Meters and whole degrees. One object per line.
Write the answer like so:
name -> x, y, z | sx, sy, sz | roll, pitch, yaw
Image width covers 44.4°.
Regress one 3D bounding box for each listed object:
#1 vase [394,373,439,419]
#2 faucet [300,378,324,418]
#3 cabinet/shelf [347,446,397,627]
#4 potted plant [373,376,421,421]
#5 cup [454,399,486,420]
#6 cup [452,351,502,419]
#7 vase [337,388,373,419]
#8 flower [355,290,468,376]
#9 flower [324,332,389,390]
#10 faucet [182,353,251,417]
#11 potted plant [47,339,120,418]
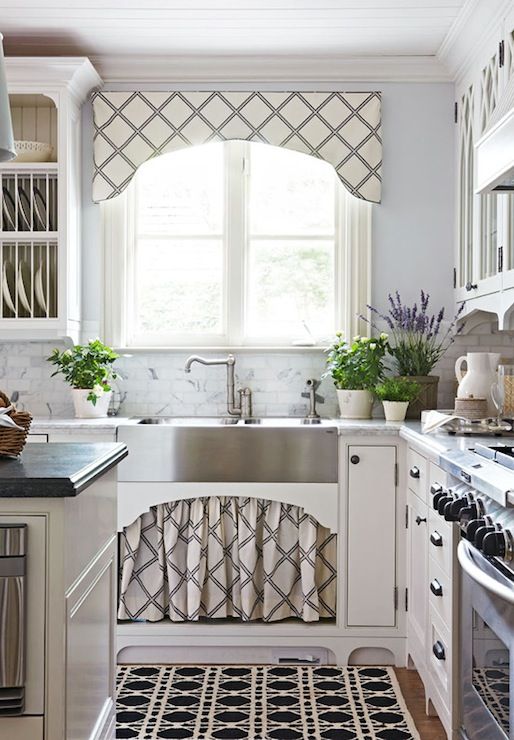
vase -> 0.701, 0.121, 2.819 | 0.167, 0.226, 0.191 | 2, -3, -17
faucet -> 0.258, 0.135, 2.964 | 0.103, 0.183, 0.138 | 0, -3, 8
cabinet/shelf -> 0.458, 0.619, 2.475 | 0.225, 0.818, 0.088 | -7, -44, 18
potted plant -> 0.581, 0.131, 2.654 | 0.171, 0.167, 0.150 | 4, -1, -23
cup -> 0.754, 0.133, 2.211 | 0.079, 0.048, 0.079 | 0, 1, 0
cup -> 0.827, 0.062, 2.345 | 0.185, 0.253, 0.174 | 4, -3, 0
vase -> 0.428, 0.143, 2.766 | 0.136, 0.102, 0.135 | -1, -2, 14
flower -> 0.740, -0.143, 2.944 | 0.388, 0.333, 0.432 | 1, -3, -2
flower -> 0.445, -0.031, 2.793 | 0.261, 0.251, 0.198 | -1, -3, 16
faucet -> -0.185, 0.094, 2.981 | 0.317, 0.356, 0.086 | 0, -29, -3
potted plant -> -0.782, 0.033, 2.801 | 0.262, 0.258, 0.193 | 10, 16, 28
